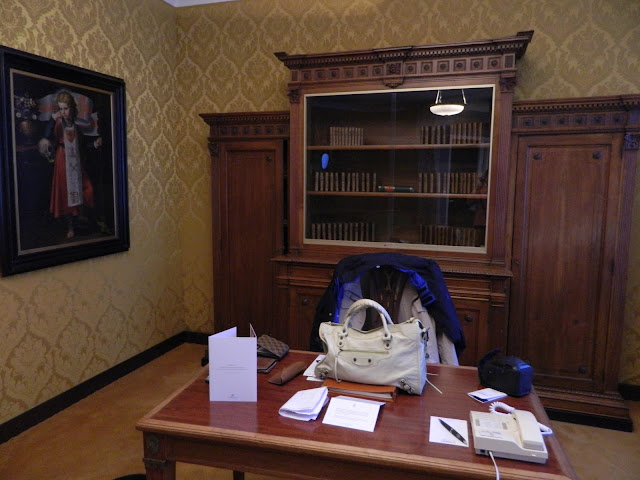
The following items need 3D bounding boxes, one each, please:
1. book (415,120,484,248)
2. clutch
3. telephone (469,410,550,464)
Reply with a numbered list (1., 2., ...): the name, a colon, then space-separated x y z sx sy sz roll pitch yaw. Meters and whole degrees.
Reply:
1. book: 1.141 -0.464 4.033 0.626 0.976 0.272 5 9 28
2. clutch: -0.261 0.715 2.908 0.312 0.117 0.332 4 10 23
3. telephone: 0.926 0.962 2.406 0.338 0.118 0.366 3 5 19
